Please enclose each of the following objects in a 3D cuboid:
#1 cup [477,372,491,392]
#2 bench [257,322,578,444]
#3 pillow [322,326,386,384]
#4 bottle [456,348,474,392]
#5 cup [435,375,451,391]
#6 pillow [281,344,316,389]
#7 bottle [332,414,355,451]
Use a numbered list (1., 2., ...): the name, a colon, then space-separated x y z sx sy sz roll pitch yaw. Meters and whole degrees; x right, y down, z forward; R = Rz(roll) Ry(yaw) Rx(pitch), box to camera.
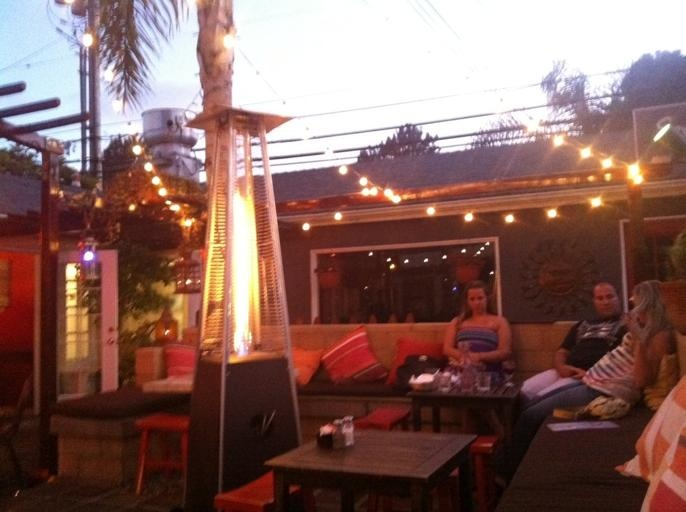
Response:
1. cup: 1.244 1.108 5.495 0.132 0.146 0.131 0 -2 0
2. bench: 0.870 1.377 6.549 3.038 1.270 0.905 -7 -10 30
3. pillow: 0.133 1.114 6.867 0.552 0.560 0.173 -33 -36 -2
4. bottle: 1.098 1.036 5.586 0.157 0.381 0.150 6 -21 2
5. cup: 0.891 1.117 5.537 0.127 0.182 0.132 0 -3 0
6. pillow: -0.454 1.111 6.868 0.500 0.490 0.155 -15 -46 4
7. bottle: 0.023 1.169 4.145 0.222 0.230 0.155 -1 -15 10
